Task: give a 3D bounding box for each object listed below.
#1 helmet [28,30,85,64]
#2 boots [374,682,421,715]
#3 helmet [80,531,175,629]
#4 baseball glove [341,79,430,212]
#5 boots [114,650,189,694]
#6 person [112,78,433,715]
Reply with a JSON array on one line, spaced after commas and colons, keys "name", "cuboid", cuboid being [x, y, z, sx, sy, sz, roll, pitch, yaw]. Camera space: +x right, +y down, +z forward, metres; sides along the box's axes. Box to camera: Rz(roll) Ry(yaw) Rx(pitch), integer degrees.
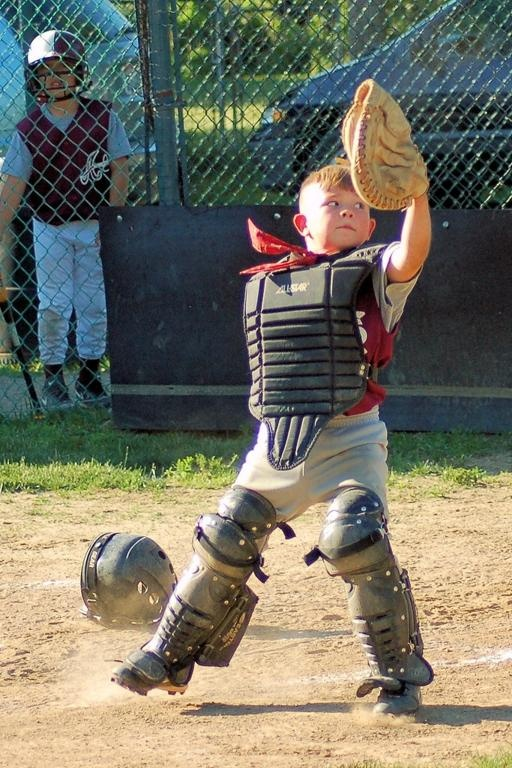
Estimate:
[{"name": "helmet", "cuboid": [-0.928, -1.591, 5.350, 0.204, 0.164, 0.225, 5, 21, 25]}, {"name": "boots", "cuboid": [0.310, 0.696, 2.489, 0.101, 0.058, 0.066, -1, 14, 4]}, {"name": "helmet", "cuboid": [-0.326, 0.508, 2.895, 0.283, 0.189, 0.243, 12, -23, -12]}, {"name": "baseball glove", "cuboid": [0.229, -0.516, 2.514, 0.226, 0.268, 0.097, -22, 2, -42]}, {"name": "boots", "cuboid": [-0.229, 0.641, 2.571, 0.096, 0.072, 0.159, 38, 16, 33]}, {"name": "person", "cuboid": [0.065, 0.033, 2.660, 0.682, 1.448, 0.695, -1, 15, 8]}]
